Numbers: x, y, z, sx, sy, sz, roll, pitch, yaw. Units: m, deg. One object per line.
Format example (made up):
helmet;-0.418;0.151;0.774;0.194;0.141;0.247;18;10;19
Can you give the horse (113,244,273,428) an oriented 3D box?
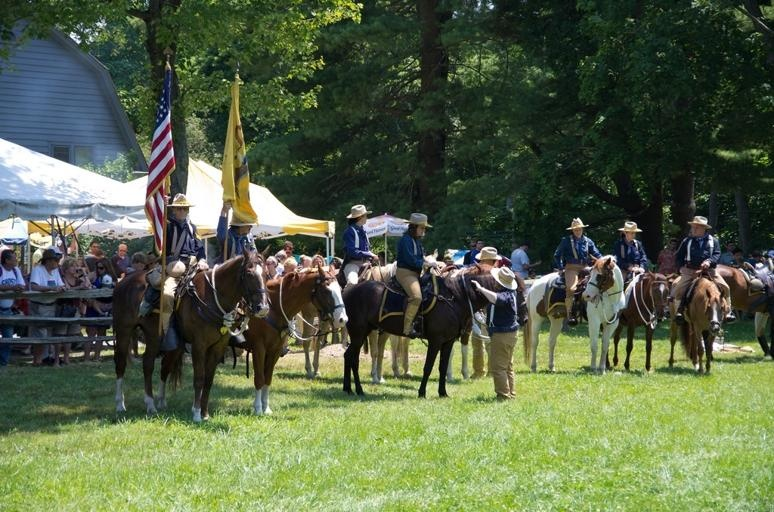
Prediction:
horse;-5.379;2.211;36.230;4.558;4.475;1.510;-4;-7;35

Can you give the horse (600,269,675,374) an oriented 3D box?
horse;8.609;2.059;41.834;2.033;3.074;3.024;1;-3;0

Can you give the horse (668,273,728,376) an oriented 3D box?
horse;9.841;2.148;41.879;1.631;2.995;1.746;1;-2;-1

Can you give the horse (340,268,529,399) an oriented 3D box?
horse;0.946;2.185;40.433;6.560;3.552;4.668;0;-1;-15

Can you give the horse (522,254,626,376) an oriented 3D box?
horse;5.949;1.890;42.396;2.212;3.210;5.713;6;-7;-21
